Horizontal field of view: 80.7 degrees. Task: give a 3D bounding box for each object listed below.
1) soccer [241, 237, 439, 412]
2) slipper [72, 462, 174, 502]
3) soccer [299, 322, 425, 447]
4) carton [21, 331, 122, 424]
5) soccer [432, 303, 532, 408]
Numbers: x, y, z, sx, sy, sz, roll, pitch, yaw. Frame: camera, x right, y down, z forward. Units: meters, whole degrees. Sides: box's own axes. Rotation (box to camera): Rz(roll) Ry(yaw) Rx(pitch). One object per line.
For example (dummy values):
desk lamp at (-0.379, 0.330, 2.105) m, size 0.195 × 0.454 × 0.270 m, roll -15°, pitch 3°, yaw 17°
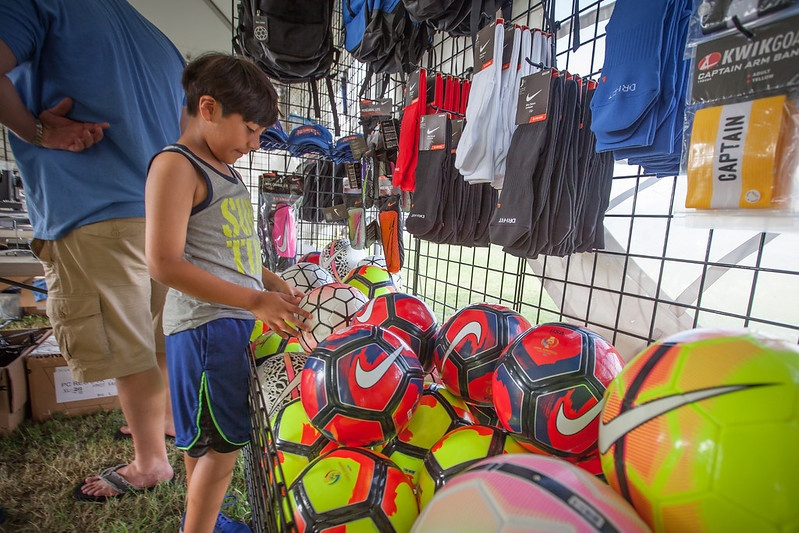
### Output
soccer at (-0.199, 0.359, 2.046) m, size 0.677 × 0.601 × 0.591 m, roll -39°, pitch 14°, yaw 20°
slipper at (-1.294, 0.984, 2.130) m, size 0.331 × 0.084 × 0.134 m, roll 4°, pitch 4°, yaw -26°
soccer at (-0.131, 0.379, 1.737) m, size 0.430 × 0.403 × 0.397 m, roll -11°, pitch 6°, yaw 40°
carton at (-1.835, 0.566, 2.650) m, size 0.434 × 0.474 × 0.281 m, roll -1°, pitch 4°, yaw 8°
soccer at (0.289, 0.308, 1.840) m, size 0.341 × 0.367 × 0.414 m, roll -7°, pitch 33°, yaw 5°
